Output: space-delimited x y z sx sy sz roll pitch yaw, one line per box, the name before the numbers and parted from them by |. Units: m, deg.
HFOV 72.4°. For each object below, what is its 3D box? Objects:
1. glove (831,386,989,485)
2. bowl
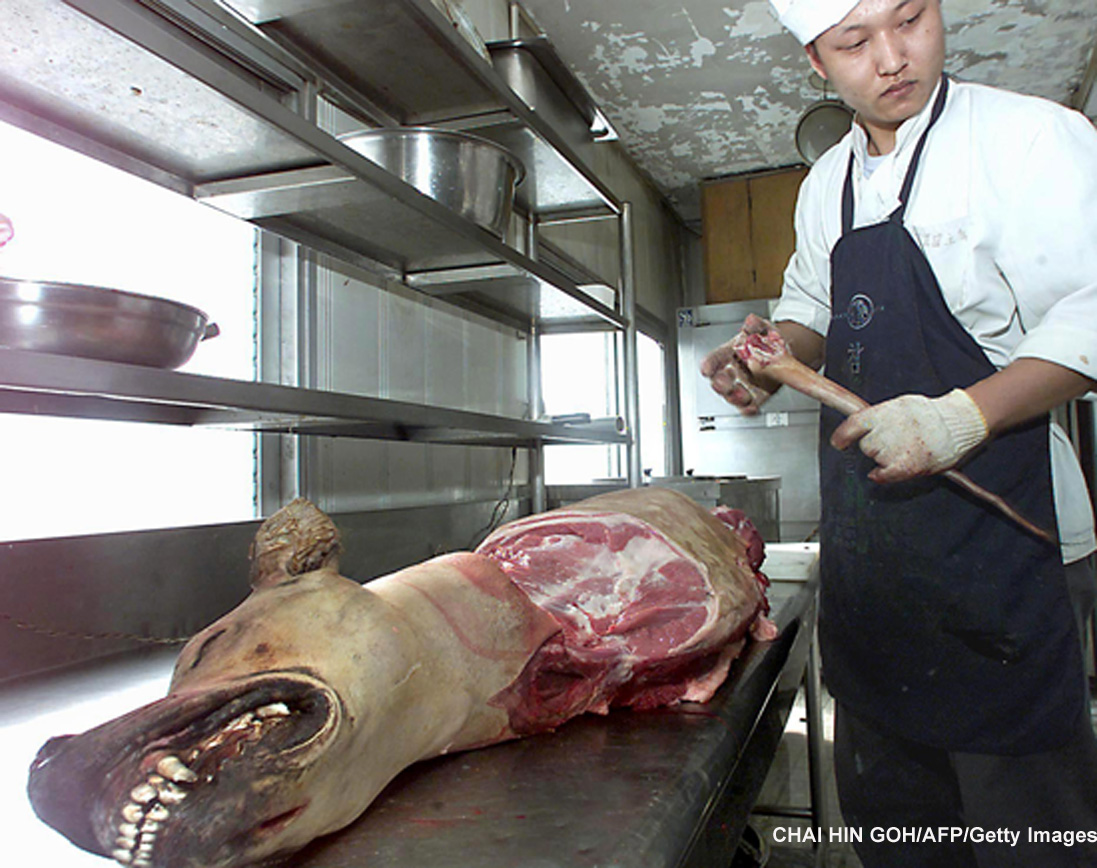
glove | 0.486 0.009 1.043 0.194 0.107 0.062 -25 -17 12
bowl | -0.302 -0.613 1.884 0.434 0.142 0.410 5 3 0
